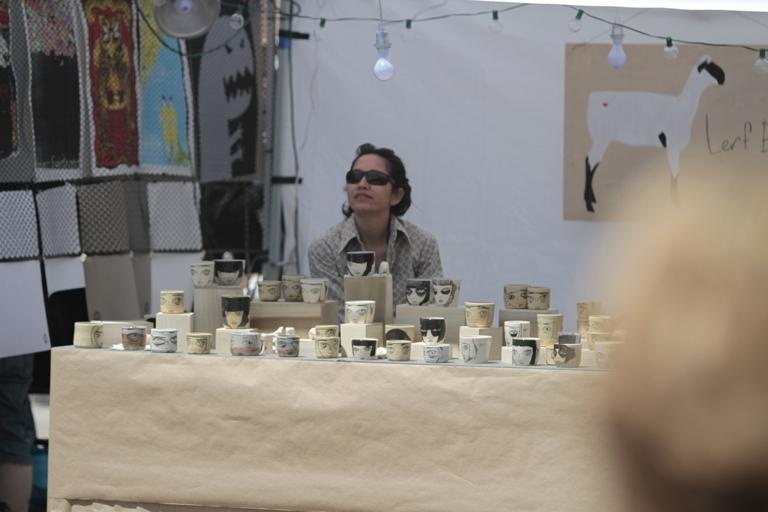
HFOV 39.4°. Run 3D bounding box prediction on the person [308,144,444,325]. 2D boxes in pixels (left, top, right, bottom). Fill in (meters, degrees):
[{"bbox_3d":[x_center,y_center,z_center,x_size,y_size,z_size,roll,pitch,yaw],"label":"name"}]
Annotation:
[{"bbox_3d":[-0.045,-0.052,7.122,0.892,1.247,0.679,5,-17,-8],"label":"person"}]
